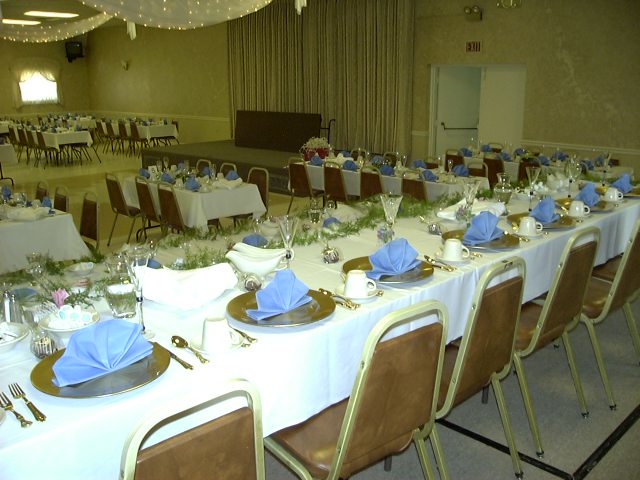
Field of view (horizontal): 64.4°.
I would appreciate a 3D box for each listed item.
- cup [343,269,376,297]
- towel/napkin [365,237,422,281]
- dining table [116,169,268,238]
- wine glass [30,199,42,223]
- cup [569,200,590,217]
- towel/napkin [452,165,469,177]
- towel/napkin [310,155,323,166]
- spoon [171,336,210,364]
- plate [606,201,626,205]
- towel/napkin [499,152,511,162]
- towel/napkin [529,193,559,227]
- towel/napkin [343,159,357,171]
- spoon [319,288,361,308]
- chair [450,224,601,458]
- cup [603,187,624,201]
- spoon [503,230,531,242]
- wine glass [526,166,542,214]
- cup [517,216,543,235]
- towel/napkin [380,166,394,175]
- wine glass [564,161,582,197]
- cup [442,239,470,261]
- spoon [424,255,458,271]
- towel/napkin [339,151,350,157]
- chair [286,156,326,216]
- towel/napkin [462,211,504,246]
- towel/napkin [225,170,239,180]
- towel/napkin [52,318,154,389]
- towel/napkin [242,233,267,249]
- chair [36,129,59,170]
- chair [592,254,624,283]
[{"bbox_3d":[0.155,0.174,2.106,0.084,0.101,0.128,-7,12,-42],"label":"cup"},{"bbox_3d":[0.326,0.087,2.232,0.252,0.101,0.152,-14,2,-38],"label":"towel/napkin"},{"bbox_3d":[-1.527,-0.450,5.864,1.298,0.354,0.788,17,27,42],"label":"dining table"},{"bbox_3d":[-2.492,-0.254,4.450,0.070,0.213,0.135,3,-9,-38],"label":"wine glass"},{"bbox_3d":[1.636,-0.209,3.233,0.133,0.113,0.086,8,10,17],"label":"cup"},{"bbox_3d":[1.678,-0.830,6.053,0.167,0.088,0.223,2,16,9],"label":"towel/napkin"},{"bbox_3d":[-0.048,-1.061,6.735,0.186,0.202,0.054,0,-13,1],"label":"towel/napkin"},{"bbox_3d":[-0.431,0.353,1.686,0.057,0.038,0.241,-11,22,-34],"label":"spoon"},{"bbox_3d":[2.074,-0.260,3.538,0.076,0.021,0.078,-7,7,-27],"label":"plate"},{"bbox_3d":[2.513,-1.127,6.871,0.133,0.152,0.053,2,-14,16],"label":"towel/napkin"},{"bbox_3d":[1.377,-0.190,3.072,0.156,0.086,0.199,12,17,36],"label":"towel/napkin"},{"bbox_3d":[0.374,-0.944,6.389,0.134,0.053,0.164,1,51,5],"label":"towel/napkin"},{"bbox_3d":[0.087,0.210,2.006,0.056,0.028,0.233,-11,17,-24],"label":"spoon"},{"bbox_3d":[1.085,0.439,2.690,0.536,1.086,0.629,-10,14,-32],"label":"chair"},{"bbox_3d":[2.066,-0.326,3.582,0.117,0.100,0.081,-1,9,0],"label":"cup"},{"bbox_3d":[1.076,-0.037,2.787,0.067,0.024,0.117,-7,14,-25],"label":"spoon"},{"bbox_3d":[1.493,-0.348,3.579,0.097,0.320,0.102,4,-1,3],"label":"wine glass"},{"bbox_3d":[1.185,-0.085,2.890,0.125,0.102,0.092,3,9,2],"label":"cup"},{"bbox_3d":[0.794,-0.834,6.054,0.113,0.062,0.160,2,18,2],"label":"towel/napkin"},{"bbox_3d":[1.953,-0.470,3.953,0.134,0.269,0.133,4,14,-2],"label":"wine glass"},{"bbox_3d":[0.655,0.049,2.521,0.086,0.107,0.140,-9,18,-44],"label":"cup"},{"bbox_3d":[0.572,0.112,2.420,0.049,0.026,0.192,-11,16,-20],"label":"spoon"},{"bbox_3d":[0.358,-1.233,7.243,0.155,0.080,0.226,-2,11,0],"label":"towel/napkin"},{"bbox_3d":[-0.163,-0.696,6.743,0.494,0.757,0.577,3,15,7],"label":"chair"},{"bbox_3d":[0.853,-0.058,2.654,0.164,0.206,0.080,3,-2,7],"label":"towel/napkin"},{"bbox_3d":[-0.994,-0.761,5.762,0.101,0.132,0.037,-3,-2,-3],"label":"towel/napkin"},{"bbox_3d":[-0.646,0.312,1.512,0.200,0.073,0.166,-18,31,-36],"label":"towel/napkin"},{"bbox_3d":[-0.314,-0.010,2.487,0.076,0.040,0.079,10,10,32],"label":"towel/napkin"},{"bbox_3d":[-6.657,-2.264,12.477,0.462,0.842,0.474,-2,3,-9],"label":"chair"},{"bbox_3d":[1.789,0.172,3.159,0.112,0.229,0.121,-17,28,-29],"label":"chair"}]
